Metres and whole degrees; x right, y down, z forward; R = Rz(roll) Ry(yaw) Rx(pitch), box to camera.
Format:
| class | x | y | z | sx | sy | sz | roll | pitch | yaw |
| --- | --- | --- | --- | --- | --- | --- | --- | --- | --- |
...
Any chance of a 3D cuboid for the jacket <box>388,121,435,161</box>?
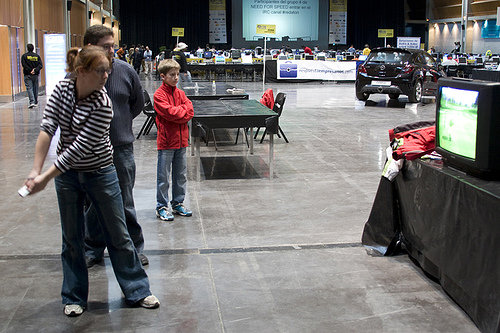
| class | x | y | z | sx | sy | sz | roll | pitch | yaw |
| --- | --- | --- | --- | --- | --- | --- | --- | --- | --- |
| jacket | 1.728 | -0.404 | 3.594 | 0.551 | 0.170 | 0.474 | -30 | 20 | -28 |

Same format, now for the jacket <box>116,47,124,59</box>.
| class | x | y | z | sx | sy | sz | roll | pitch | yaw |
| --- | --- | --- | --- | --- | --- | --- | --- | --- | --- |
| jacket | -10.393 | -9.293 | 27.745 | 0.217 | 0.590 | 0.590 | 6 | -30 | -7 |

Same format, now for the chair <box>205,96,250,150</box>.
| class | x | y | z | sx | sy | sz | roll | pitch | yaw |
| --- | --- | --- | --- | --- | --- | --- | --- | --- | --- |
| chair | -0.541 | -1.138 | 9.136 | 1.258 | 1.519 | 1.593 | 0 | 12 | -4 |

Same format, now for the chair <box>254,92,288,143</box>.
| class | x | y | z | sx | sy | sz | roll | pitch | yaw |
| --- | --- | --- | --- | --- | --- | --- | --- | --- | --- |
| chair | 0.487 | -1.291 | 9.123 | 0.881 | 1.192 | 0.850 | -5 | 6 | -41 |

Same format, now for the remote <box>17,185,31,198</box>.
| class | x | y | z | sx | sy | sz | roll | pitch | yaw |
| --- | --- | --- | --- | --- | --- | --- | --- | --- | --- |
| remote | -1.508 | 0.163 | 2.323 | 0.065 | 0.083 | 0.208 | -9 | 16 | -33 |

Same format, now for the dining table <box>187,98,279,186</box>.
| class | x | y | z | sx | sy | sz | roll | pitch | yaw |
| --- | --- | --- | --- | --- | --- | --- | --- | --- | --- |
| dining table | -0.365 | -0.624 | 7.117 | 1.558 | 1.340 | 2.422 | -1 | 13 | -7 |

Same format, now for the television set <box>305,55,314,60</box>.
| class | x | y | z | sx | sy | sz | roll | pitch | yaw |
| --- | --- | --- | --- | --- | --- | --- | --- | --- | --- |
| television set | 4.980 | -9.074 | 28.539 | 0.720 | 0.333 | 0.896 | 2 | 14 | 9 |

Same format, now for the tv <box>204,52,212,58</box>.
| class | x | y | z | sx | sy | sz | roll | pitch | yaw |
| --- | --- | --- | --- | --- | --- | --- | --- | --- | --- |
| tv | -3.367 | -9.134 | 28.226 | 0.636 | 0.487 | 0.847 | -1 | 13 | -5 |

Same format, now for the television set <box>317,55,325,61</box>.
| class | x | y | z | sx | sy | sz | roll | pitch | yaw |
| --- | --- | --- | --- | --- | --- | --- | --- | --- | --- |
| television set | 5.922 | -9.024 | 28.504 | 0.603 | 0.438 | 1.245 | 3 | 14 | 10 |

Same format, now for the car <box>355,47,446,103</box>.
| class | x | y | z | sx | sy | sz | roll | pitch | yaw |
| --- | --- | --- | --- | --- | --- | --- | --- | --- | --- |
| car | 7.276 | -4.256 | 16.190 | 4.662 | 2.403 | 2.190 | -5 | 14 | -19 |

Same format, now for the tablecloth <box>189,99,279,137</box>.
| class | x | y | z | sx | sy | sz | roll | pitch | yaw |
| --- | --- | --- | --- | --- | --- | --- | --- | --- | --- |
| tablecloth | -0.376 | -1.029 | 7.114 | 1.571 | 0.539 | 2.166 | -2 | 14 | -8 |

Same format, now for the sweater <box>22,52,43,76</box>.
| class | x | y | z | sx | sy | sz | roll | pitch | yaw |
| --- | --- | --- | --- | --- | --- | --- | --- | --- | --- |
| sweater | -9.233 | -4.377 | 14.712 | 0.703 | 0.979 | 0.486 | -8 | 15 | -33 |
